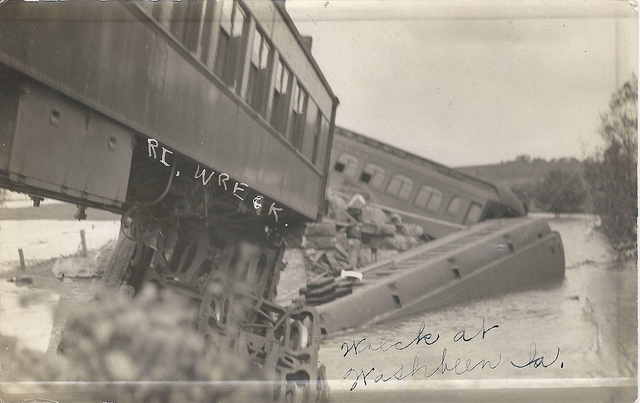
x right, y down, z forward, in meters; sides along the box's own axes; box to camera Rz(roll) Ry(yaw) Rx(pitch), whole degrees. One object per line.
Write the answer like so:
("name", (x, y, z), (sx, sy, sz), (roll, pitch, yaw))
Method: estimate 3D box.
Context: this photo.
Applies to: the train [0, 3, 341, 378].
("train", (-1.633, -0.013, 8.392), (2.905, 3.023, 1.066), (14, 3, -20))
